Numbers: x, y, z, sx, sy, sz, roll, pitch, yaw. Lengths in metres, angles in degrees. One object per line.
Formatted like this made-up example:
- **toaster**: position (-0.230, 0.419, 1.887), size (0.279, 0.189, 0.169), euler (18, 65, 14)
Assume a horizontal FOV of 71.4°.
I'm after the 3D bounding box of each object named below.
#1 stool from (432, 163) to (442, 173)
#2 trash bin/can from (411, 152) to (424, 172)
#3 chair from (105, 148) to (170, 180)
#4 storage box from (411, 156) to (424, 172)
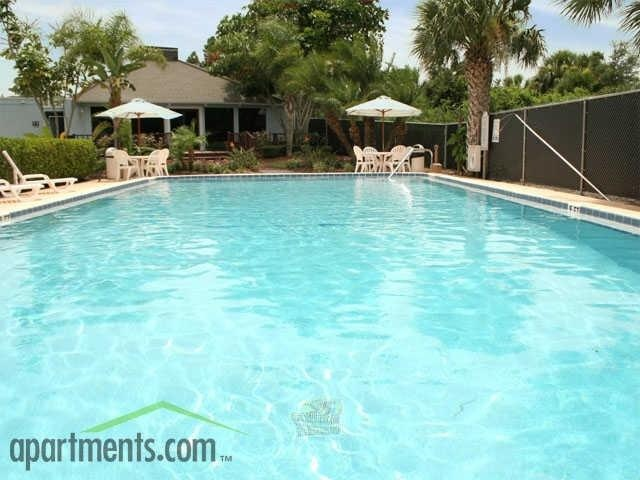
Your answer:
- **stool**: position (5.480, -3.363, 20.805), size (0.469, 0.418, 0.475), euler (0, 3, -3)
- **trash bin/can**: position (4.616, -3.675, 20.989), size (0.758, 0.857, 0.758), euler (-3, 6, -15)
- **chair**: position (-7.585, -3.152, 18.296), size (1.425, 1.226, 2.619), euler (3, 13, 17)
- **storage box**: position (4.759, -3.607, 21.069), size (0.648, 0.690, 0.643), euler (-4, 10, -29)
